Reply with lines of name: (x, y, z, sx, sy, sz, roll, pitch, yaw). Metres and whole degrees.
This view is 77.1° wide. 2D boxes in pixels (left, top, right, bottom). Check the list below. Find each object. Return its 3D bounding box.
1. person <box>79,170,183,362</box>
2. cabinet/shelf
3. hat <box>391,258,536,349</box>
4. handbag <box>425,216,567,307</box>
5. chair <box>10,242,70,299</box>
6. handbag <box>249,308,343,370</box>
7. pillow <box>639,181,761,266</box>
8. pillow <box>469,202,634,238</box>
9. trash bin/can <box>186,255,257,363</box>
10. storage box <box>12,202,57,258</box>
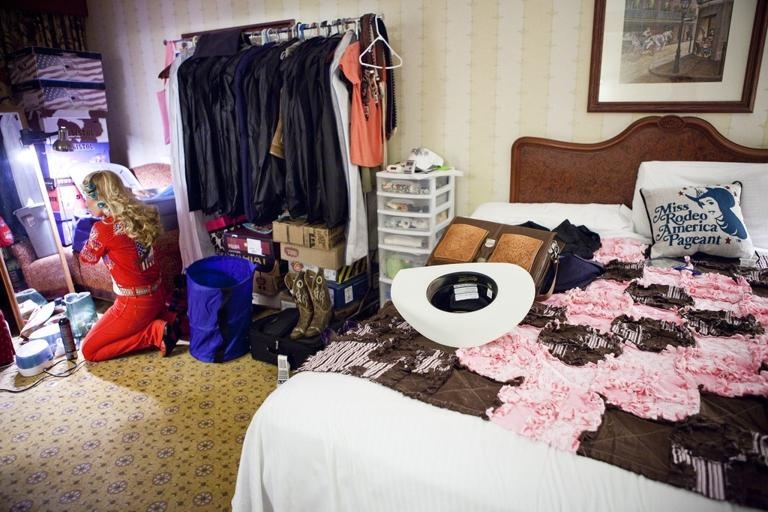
person: (-1.941, 0.082, 3.486, 0.677, 1.306, 0.645, -13, 19, -39)
cabinet/shelf: (0.222, -0.139, 3.670, 0.495, 1.024, 0.406, 13, 23, 35)
hat: (0.379, 0.182, 2.245, 0.523, 0.200, 0.423, -2, 34, 8)
handbag: (0.688, 0.019, 2.859, 0.555, 0.167, 0.524, 12, 50, 28)
chair: (-2.608, 0.090, 3.670, 0.363, 0.381, 0.305, 1, 27, -4)
handbag: (-0.655, 0.546, 3.245, 0.357, 0.157, 0.493, 11, 24, 29)
pillow: (1.928, -0.186, 2.886, 0.484, 0.201, 0.417, -3, 54, 22)
pillow: (1.198, -0.288, 3.334, 0.701, 0.104, 0.437, 8, 29, 19)
trash bin/can: (-1.181, 0.368, 3.468, 0.429, 0.672, 0.507, 9, 16, 8)
storage box: (-2.597, -0.144, 3.658, 0.231, 0.391, 0.277, -18, 2, -5)
